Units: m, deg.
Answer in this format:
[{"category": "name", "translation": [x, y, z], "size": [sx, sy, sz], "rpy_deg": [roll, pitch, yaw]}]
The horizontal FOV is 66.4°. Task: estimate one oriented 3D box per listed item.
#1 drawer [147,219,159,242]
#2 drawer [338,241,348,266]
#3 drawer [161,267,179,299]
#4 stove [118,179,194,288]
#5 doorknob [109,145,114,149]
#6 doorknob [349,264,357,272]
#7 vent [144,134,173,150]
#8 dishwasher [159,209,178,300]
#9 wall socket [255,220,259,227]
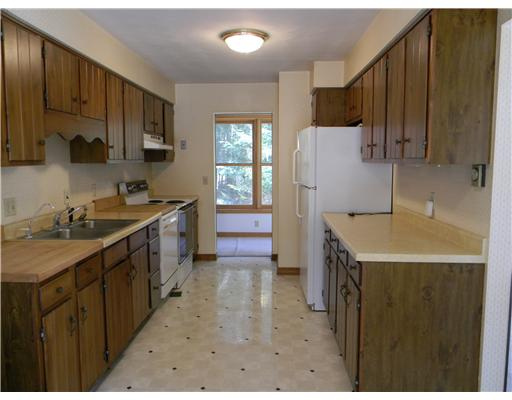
[{"category": "drawer", "translation": [-0.970, 0.285, 3.701], "size": [0.115, 0.135, 0.205], "rpy_deg": [0, 5, 6]}, {"category": "drawer", "translation": [0.647, 0.396, 2.910], "size": [0.065, 0.151, 0.212], "rpy_deg": [0, 2, -2]}, {"category": "drawer", "translation": [-0.914, 0.903, 4.183], "size": [0.060, 0.181, 0.273], "rpy_deg": [12, 7, 2]}, {"category": "stove", "translation": [-1.141, 0.361, 4.816], "size": [0.624, 1.231, 0.908], "rpy_deg": [-4, 7, 10]}, {"category": "doorknob", "translation": [-1.323, -0.490, 3.568], "size": [0.037, 0.025, 0.040], "rpy_deg": [2, 5, 10]}, {"category": "doorknob", "translation": [0.655, 0.459, 2.649], "size": [0.038, 0.046, 0.022], "rpy_deg": [-1, -1, 44]}, {"category": "vent", "translation": [-1.187, -0.701, 4.730], "size": [0.251, 0.194, 0.797], "rpy_deg": [-2, 10, -10]}, {"category": "dishwasher", "translation": [-0.932, 0.590, 4.175], "size": [0.129, 0.948, 0.602], "rpy_deg": [-1, 9, -4]}, {"category": "wall socket", "translation": [0.007, 0.426, 7.247], "size": [0.100, 0.146, 0.014], "rpy_deg": [1, 6, 5]}]
